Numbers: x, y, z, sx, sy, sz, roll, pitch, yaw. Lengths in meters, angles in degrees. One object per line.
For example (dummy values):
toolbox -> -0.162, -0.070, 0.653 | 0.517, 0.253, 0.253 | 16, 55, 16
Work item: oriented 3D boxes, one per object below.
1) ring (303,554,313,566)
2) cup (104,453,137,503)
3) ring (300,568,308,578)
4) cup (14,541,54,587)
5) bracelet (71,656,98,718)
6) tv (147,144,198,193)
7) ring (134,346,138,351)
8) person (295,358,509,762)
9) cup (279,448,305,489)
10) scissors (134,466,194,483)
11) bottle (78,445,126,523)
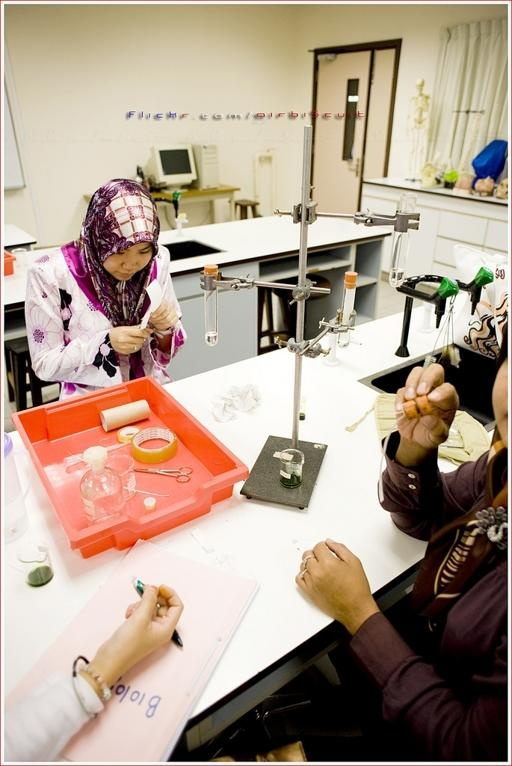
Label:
ring -> 0.099, 0.339, 0.982 | 0.014, 0.019, 0.020 | 4, 33, 5
cup -> -0.315, 0.227, 1.237 | 0.076, 0.093, 0.085 | -8, 29, -6
ring -> 0.090, 0.359, 0.963 | 0.014, 0.005, 0.010 | -46, 13, -21
cup -> -0.431, 0.358, 0.996 | 0.054, 0.067, 0.074 | -2, 27, 3
bracelet -> -0.246, 0.445, 0.756 | 0.014, 0.064, 0.058 | -21, 16, 2
tv -> -0.716, -1.872, 4.422 | 0.340, 0.355, 0.363 | -13, 47, -20
ring -> -0.400, -0.111, 1.700 | 0.007, 0.011, 0.010 | 0, 7, 27
person -> 0.273, 0.359, 0.989 | 0.270, 0.723, 0.302 | 24, 51, 13
cup -> 0.085, 0.208, 1.218 | 0.047, 0.057, 0.042 | 21, 43, 22
scissors -> -0.226, 0.222, 1.274 | 0.110, 0.008, 0.054 | 9, 26, 12
bottle -> -0.352, 0.235, 1.158 | 0.091, 0.167, 0.092 | 0, 24, 0
